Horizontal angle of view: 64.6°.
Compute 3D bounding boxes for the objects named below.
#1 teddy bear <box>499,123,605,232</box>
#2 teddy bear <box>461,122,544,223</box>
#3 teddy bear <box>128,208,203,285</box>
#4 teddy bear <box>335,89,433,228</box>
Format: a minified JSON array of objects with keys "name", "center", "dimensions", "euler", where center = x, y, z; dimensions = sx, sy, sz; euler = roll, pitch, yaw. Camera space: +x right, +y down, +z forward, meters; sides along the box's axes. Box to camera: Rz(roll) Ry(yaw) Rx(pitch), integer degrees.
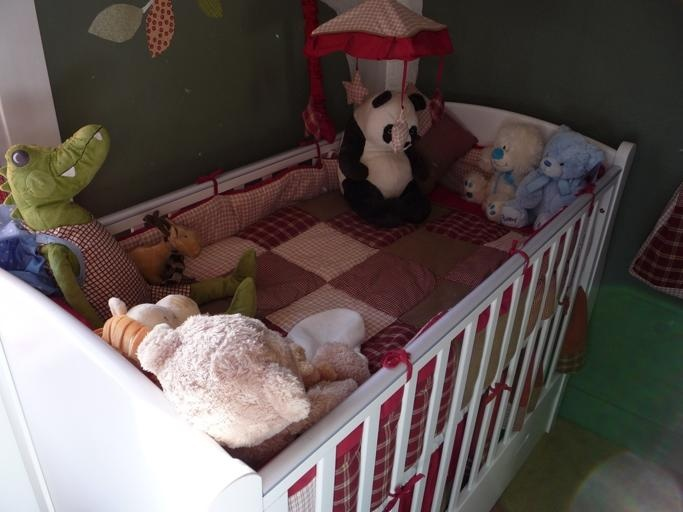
[{"name":"teddy bear","center":[0.921,-0.315,2.353],"dimensions":[0.359,0.446,0.282],"euler":[-23,44,-20]},{"name":"teddy bear","center":[0.774,-0.414,2.528],"dimensions":[0.295,0.435,0.342],"euler":[-30,44,-24]},{"name":"teddy bear","center":[-0.670,-0.023,1.956],"dimensions":[0.284,0.283,0.114],"euler":[3,19,-17]},{"name":"teddy bear","center":[0.215,-0.476,2.530],"dimensions":[0.389,0.584,0.504],"euler":[-4,29,-16]}]
